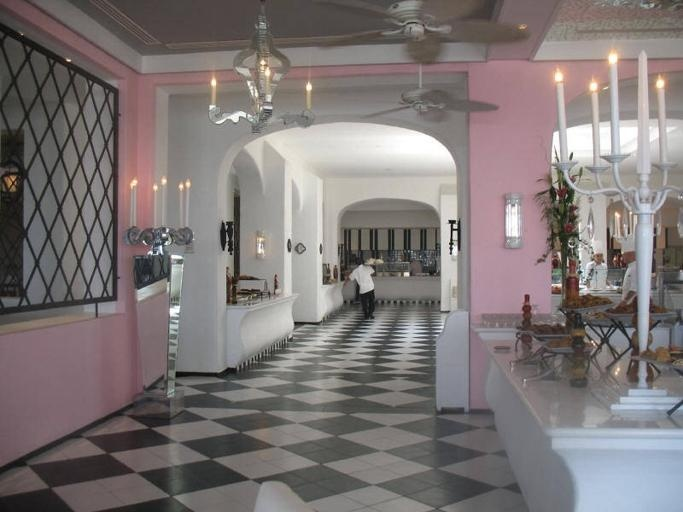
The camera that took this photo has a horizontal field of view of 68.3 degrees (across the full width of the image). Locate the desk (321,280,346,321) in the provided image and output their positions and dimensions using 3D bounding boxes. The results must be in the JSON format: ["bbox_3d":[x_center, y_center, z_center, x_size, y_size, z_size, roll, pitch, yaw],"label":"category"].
[{"bbox_3d":[-0.147,1.233,15.590,0.299,0.630,2.573,3,-19,19],"label":"desk"}]

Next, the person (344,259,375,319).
[{"bbox_3d":[0.589,0.966,14.572,0.719,1.640,1.012,0,0,0],"label":"person"}]

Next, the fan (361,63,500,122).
[{"bbox_3d":[0.788,-1.552,4.582,0.732,0.424,0.860,-6,10,-14],"label":"fan"}]

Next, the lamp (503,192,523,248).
[{"bbox_3d":[2.005,-0.412,5.865,0.212,0.629,0.137,0,0,16],"label":"lamp"}]

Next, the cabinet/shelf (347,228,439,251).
[{"bbox_3d":[1.997,-0.667,20.393,3.717,0.994,0.426,0,0,10],"label":"cabinet/shelf"}]
